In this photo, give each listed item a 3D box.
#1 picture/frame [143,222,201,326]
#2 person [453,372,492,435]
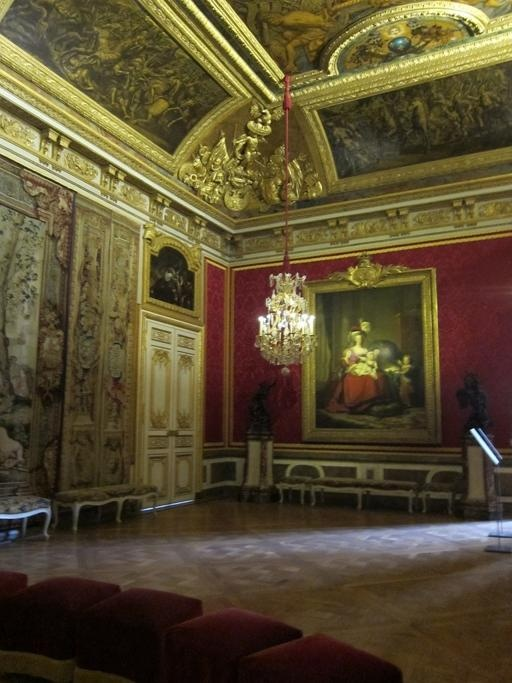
[{"bbox_3d":[-1.461,-1.132,9.533,0.193,1.478,1.807,-7,-13,26],"label":"picture/frame"},{"bbox_3d":[3.264,0.919,8.451,0.463,0.906,0.899,-3,-12,21],"label":"person"}]
